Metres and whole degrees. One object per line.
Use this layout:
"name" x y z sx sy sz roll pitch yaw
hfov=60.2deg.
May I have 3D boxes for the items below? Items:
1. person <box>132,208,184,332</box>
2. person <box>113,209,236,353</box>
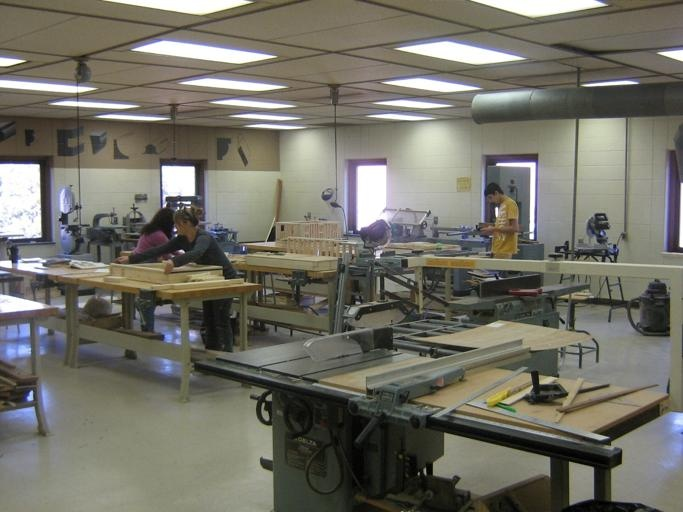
"person" -2.079 0.125 6.595 0.617 1.520 0.687 -2 5 -40
"person" -1.627 0.294 6.097 0.980 1.518 1.131 -1 4 -45
